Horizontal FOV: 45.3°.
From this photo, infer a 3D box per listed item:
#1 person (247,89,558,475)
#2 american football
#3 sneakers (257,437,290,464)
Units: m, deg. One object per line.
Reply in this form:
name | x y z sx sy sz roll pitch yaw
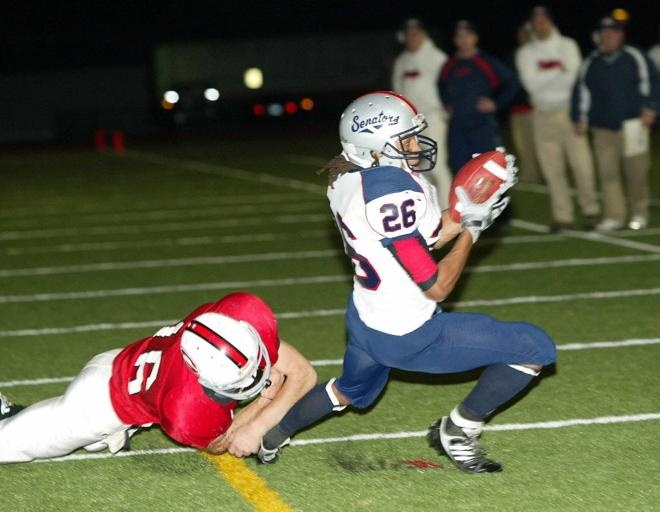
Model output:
person | 0.437 0.141 4.154 1.400 1.989 0.636 -3 14 12
american football | 0.758 -0.387 4.255 0.408 0.253 0.271 -40 6 11
sneakers | -0.317 1.058 4.306 0.229 0.068 0.109 -29 19 -36
